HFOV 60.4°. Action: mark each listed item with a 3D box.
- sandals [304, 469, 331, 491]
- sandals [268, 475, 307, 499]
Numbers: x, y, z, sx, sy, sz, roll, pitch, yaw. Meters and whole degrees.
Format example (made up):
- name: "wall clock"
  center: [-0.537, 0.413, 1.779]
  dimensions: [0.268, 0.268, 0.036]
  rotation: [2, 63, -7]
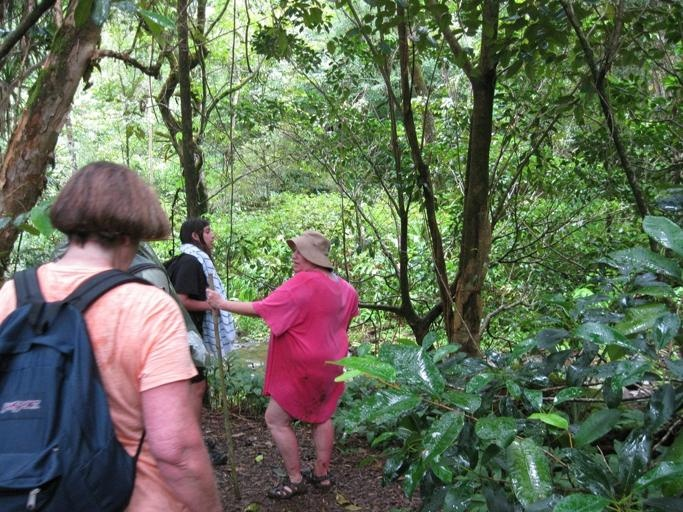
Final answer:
- name: "sandals"
  center: [-0.170, 1.642, 4.313]
  dimensions: [0.096, 0.117, 0.256]
  rotation: [5, 9, -41]
- name: "sandals"
  center: [-0.370, 1.630, 4.140]
  dimensions: [0.213, 0.118, 0.128]
  rotation: [-1, 4, -7]
